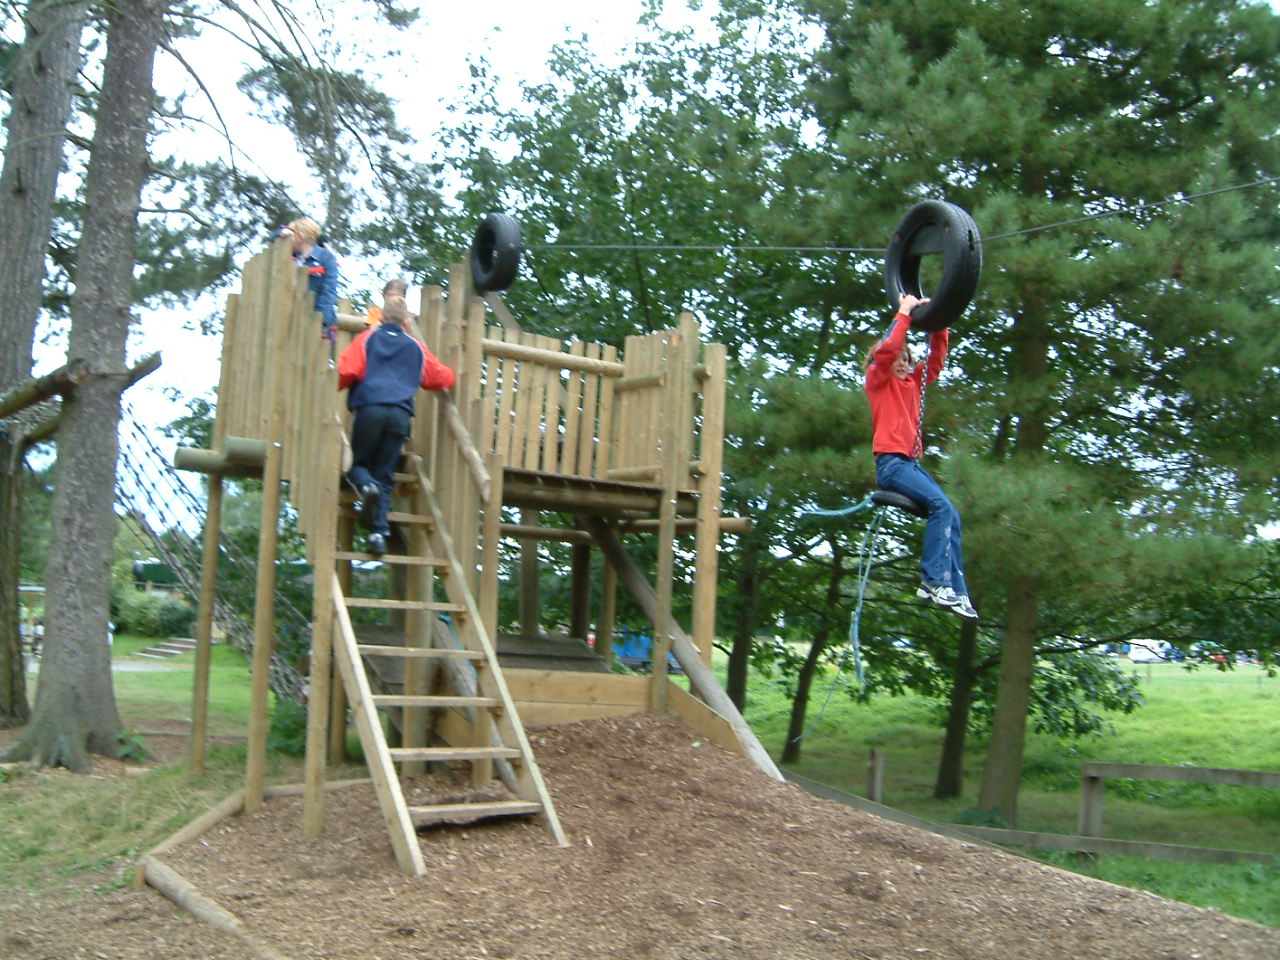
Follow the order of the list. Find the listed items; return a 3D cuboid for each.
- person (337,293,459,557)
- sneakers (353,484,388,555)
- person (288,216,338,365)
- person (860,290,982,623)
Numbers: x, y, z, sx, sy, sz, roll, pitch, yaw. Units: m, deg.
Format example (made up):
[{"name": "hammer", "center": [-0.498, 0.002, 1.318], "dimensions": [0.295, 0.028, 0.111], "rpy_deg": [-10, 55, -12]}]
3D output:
[{"name": "person", "center": [-2.205, -0.576, 12.241], "dimensions": [0.525, 1.958, 1.103], "rpy_deg": [-2, 11, 42]}, {"name": "sneakers", "center": [-2.268, 0.322, 11.878], "dimensions": [0.230, 0.666, 0.289], "rpy_deg": [0, -15, -20]}, {"name": "person", "center": [-3.053, -1.838, 13.414], "dimensions": [0.381, 1.364, 1.039], "rpy_deg": [-11, 8, -11]}, {"name": "person", "center": [2.337, -0.166, 11.794], "dimensions": [0.727, 2.752, 0.846], "rpy_deg": [-9, 8, 9]}]
